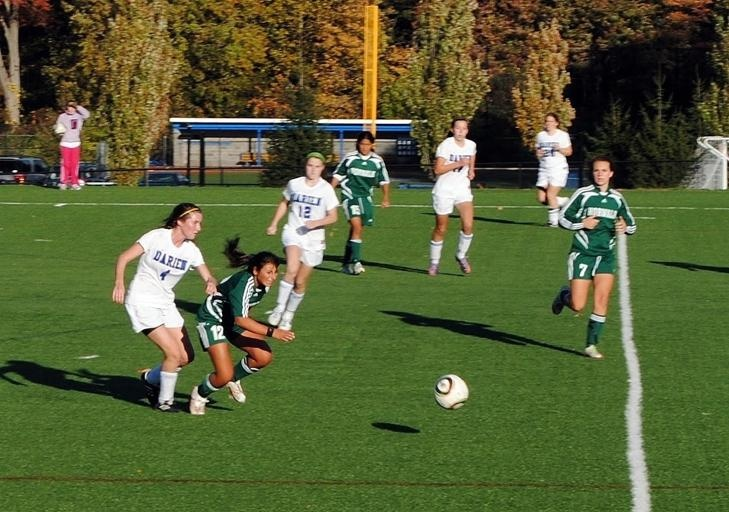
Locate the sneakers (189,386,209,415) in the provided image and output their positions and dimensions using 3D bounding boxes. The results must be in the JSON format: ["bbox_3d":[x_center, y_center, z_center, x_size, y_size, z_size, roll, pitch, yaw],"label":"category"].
[{"bbox_3d":[-1.895,1.657,11.745,0.220,0.298,0.181,-1,10,-31],"label":"sneakers"}]

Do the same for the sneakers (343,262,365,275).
[{"bbox_3d":[-0.219,0.216,18.498,0.446,0.129,0.197,6,6,43],"label":"sneakers"}]

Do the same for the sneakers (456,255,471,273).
[{"bbox_3d":[1.747,0.152,18.480,0.138,0.355,0.161,-42,-3,-30],"label":"sneakers"}]

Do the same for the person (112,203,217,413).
[{"bbox_3d":[-2.268,0.587,11.505,1.097,2.380,0.372,3,7,-9],"label":"person"}]

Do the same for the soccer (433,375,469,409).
[{"bbox_3d":[0.960,1.551,11.561,0.355,0.416,0.221,3,7,1],"label":"soccer"}]

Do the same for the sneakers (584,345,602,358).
[{"bbox_3d":[2.975,1.254,13.421,0.167,0.082,0.249,-3,0,-18],"label":"sneakers"}]

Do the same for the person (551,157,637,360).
[{"bbox_3d":[2.940,0.046,13.275,0.948,2.604,0.495,5,7,8],"label":"person"}]
